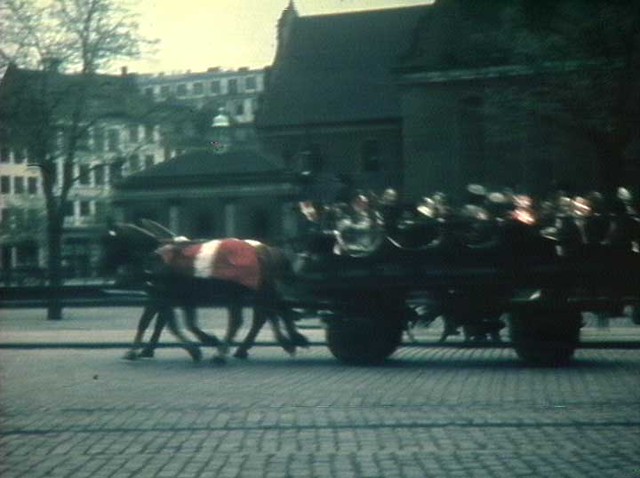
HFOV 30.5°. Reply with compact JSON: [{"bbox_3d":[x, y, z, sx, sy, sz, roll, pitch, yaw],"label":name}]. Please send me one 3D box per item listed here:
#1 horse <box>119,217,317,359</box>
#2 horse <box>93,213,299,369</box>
[{"bbox_3d":[-1.157,0.426,12.481,2.276,1.154,0.625,0,-5,22],"label":"horse"},{"bbox_3d":[-1.223,0.531,12.490,2.615,1.296,0.745,2,-13,32],"label":"horse"}]
